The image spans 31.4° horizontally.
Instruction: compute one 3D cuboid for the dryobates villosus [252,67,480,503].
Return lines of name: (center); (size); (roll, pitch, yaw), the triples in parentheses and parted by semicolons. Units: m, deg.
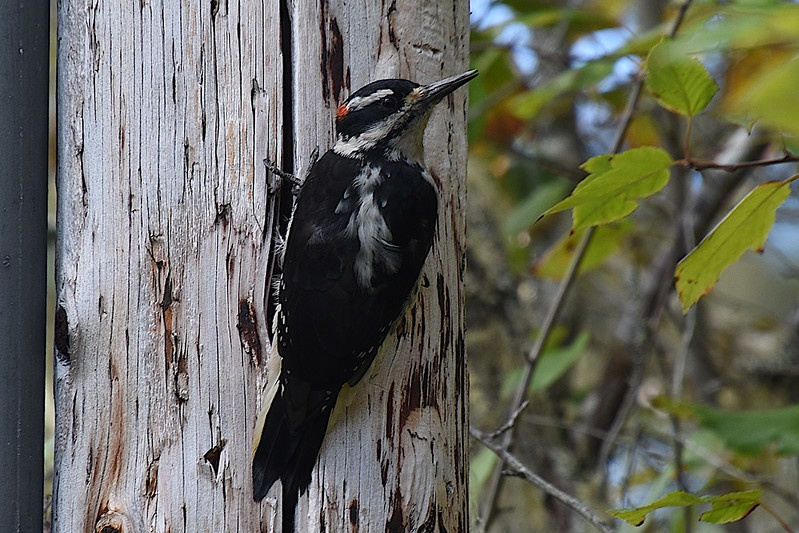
dryobates villosus: (-0.195, 0.043, 5.418); (0.541, 2.062, 0.828); (15, 0, 5)
